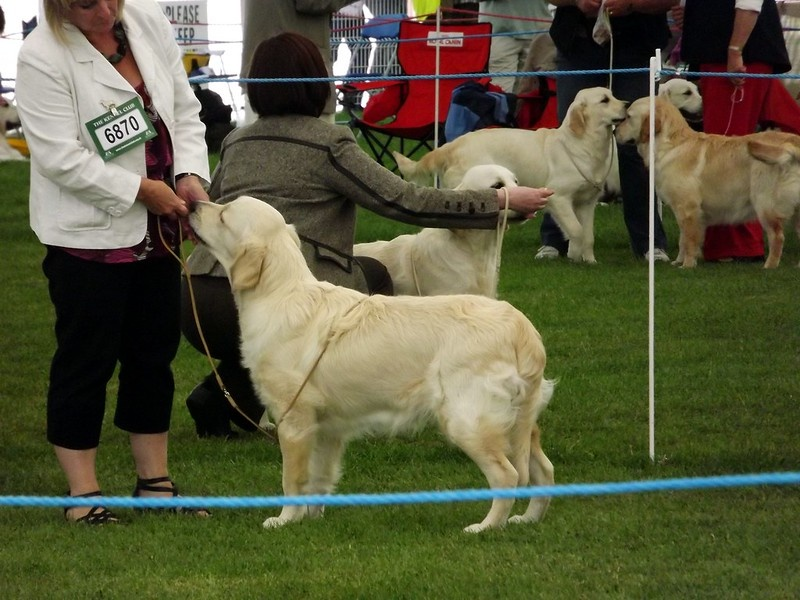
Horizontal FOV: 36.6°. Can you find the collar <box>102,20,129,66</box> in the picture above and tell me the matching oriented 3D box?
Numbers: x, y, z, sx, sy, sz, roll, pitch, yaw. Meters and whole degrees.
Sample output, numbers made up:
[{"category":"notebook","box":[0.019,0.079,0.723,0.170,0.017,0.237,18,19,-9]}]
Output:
[{"category":"collar","box":[-1.397,-1.275,6.012,0.063,0.190,0.139,10,15,25]}]

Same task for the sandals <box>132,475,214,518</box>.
[{"category":"sandals","box":[-1.141,1.030,6.256,0.475,0.196,0.167,-1,-6,7]}]

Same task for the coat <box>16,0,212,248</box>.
[{"category":"coat","box":[-1.402,-0.879,6.008,0.868,1.179,0.471,-13,19,-36]}]

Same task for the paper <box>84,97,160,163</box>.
[{"category":"paper","box":[-1.371,-0.844,5.927,0.272,0.215,0.023,-30,12,-14]}]
